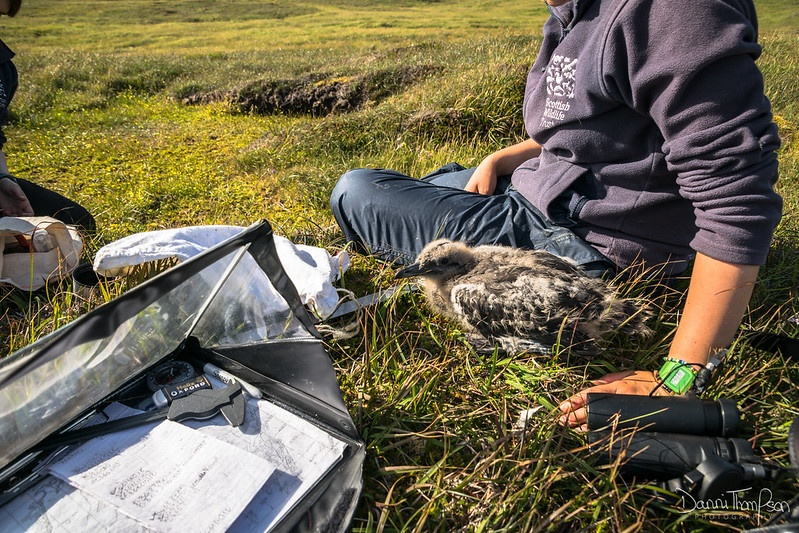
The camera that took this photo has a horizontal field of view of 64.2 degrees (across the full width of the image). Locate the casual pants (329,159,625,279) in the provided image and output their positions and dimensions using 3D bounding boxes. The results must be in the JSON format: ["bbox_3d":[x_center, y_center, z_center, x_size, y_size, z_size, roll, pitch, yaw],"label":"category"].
[{"bbox_3d":[0.361,-0.377,4.764,1.489,0.382,1.003,19,10,4],"label":"casual pants"}]
